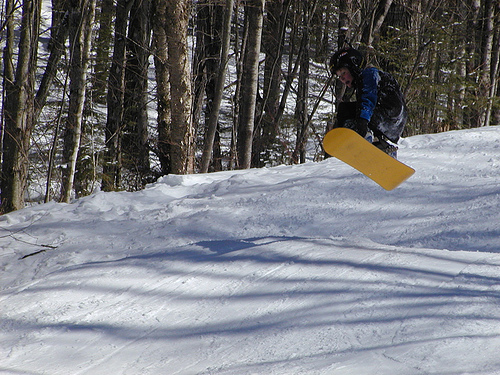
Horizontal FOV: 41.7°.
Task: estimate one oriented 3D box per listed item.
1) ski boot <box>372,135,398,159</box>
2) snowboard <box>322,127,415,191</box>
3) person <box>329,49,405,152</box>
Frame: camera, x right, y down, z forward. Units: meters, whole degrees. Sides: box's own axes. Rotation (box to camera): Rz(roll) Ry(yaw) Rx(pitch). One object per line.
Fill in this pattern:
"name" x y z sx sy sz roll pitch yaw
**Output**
"ski boot" 1.839 -0.562 8.950 0.379 0.159 0.127 34 -30 3
"snowboard" 1.659 -0.333 8.716 1.399 0.562 0.229 33 36 -7
"person" 1.613 -1.129 9.172 1.010 1.551 0.999 5 23 36
